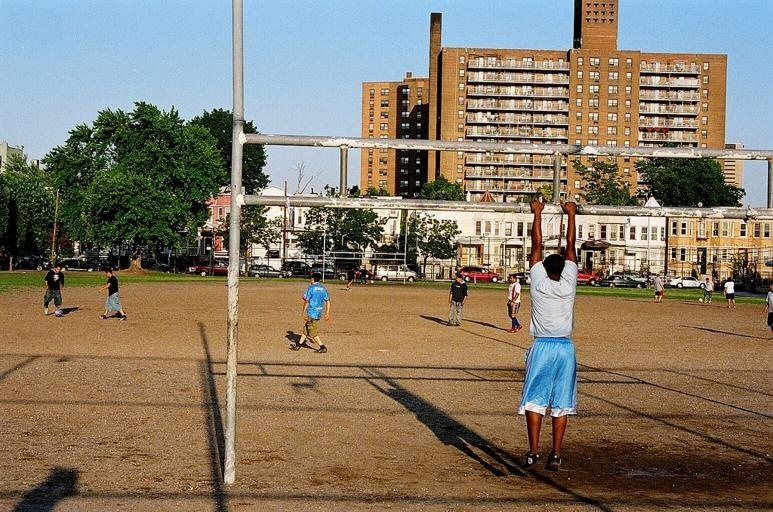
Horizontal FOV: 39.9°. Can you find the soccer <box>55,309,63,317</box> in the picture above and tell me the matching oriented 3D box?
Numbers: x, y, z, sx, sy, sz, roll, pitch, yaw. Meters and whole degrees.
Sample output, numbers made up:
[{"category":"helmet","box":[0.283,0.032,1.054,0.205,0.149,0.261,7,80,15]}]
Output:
[{"category":"soccer","box":[-13.067,2.301,42.361,0.346,0.355,0.353,1,-11,-4]}]

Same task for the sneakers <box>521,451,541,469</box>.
[{"category":"sneakers","box":[3.496,4.932,25.664,0.260,0.287,0.698,0,-4,-1]}]

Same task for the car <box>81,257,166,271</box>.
[{"category":"car","box":[-24.729,0.807,99.458,9.003,1.409,1.273,-1,2,-7]}]

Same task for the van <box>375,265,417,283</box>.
[{"category":"van","box":[0.694,1.580,91.051,2.735,0.986,1.680,-1,0,0]}]

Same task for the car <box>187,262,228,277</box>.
[{"category":"car","box":[-16.011,1.286,95.478,3.323,1.047,1.466,-2,1,12]}]

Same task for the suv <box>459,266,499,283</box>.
[{"category":"suv","box":[7.524,1.581,86.882,3.431,1.348,1.571,-2,6,-8]}]

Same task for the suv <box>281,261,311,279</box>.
[{"category":"suv","box":[-8.159,1.250,96.227,3.254,1.490,1.813,-4,6,-2]}]

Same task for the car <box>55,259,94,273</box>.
[{"category":"car","box":[-27.304,0.943,93.098,2.699,0.847,1.096,-2,2,8]}]

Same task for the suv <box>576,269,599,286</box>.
[{"category":"suv","box":[17.841,1.812,94.202,1.760,1.668,4.778,4,13,11]}]

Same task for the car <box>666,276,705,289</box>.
[{"category":"car","box":[27.004,2.511,96.556,2.818,0.841,1.187,-3,2,7]}]

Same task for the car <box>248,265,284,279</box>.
[{"category":"car","box":[-10.673,1.443,93.446,2.894,0.999,1.288,-1,4,11]}]

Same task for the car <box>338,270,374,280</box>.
[{"category":"car","box":[-2.638,1.578,83.876,2.350,0.670,1.531,1,-1,0]}]

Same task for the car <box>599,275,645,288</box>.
[{"category":"car","box":[20.671,2.365,92.886,3.240,0.908,1.388,-1,3,-3]}]

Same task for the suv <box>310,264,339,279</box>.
[{"category":"suv","box":[-4.712,1.191,81.487,2.380,1.082,1.394,-3,3,-2]}]

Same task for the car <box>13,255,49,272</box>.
[{"category":"car","box":[-34.870,0.835,104.368,2.749,1.417,1.364,-2,-3,3]}]
